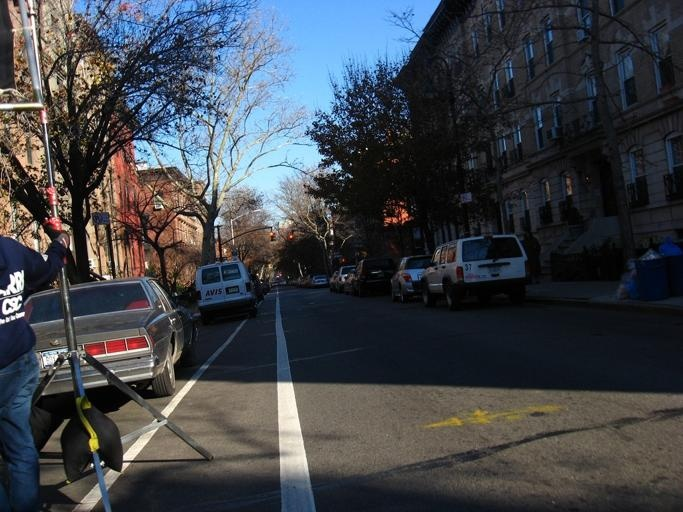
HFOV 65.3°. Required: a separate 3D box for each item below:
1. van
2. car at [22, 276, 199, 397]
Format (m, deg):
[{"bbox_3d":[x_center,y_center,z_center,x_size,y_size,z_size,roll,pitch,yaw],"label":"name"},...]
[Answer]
[{"bbox_3d":[-5.319,1.595,24.131,2.449,2.589,1.812,-5,-1,-17],"label":"van"},{"bbox_3d":[-3.235,1.302,8.578,1.344,1.064,3.165,-3,1,2],"label":"car"}]
